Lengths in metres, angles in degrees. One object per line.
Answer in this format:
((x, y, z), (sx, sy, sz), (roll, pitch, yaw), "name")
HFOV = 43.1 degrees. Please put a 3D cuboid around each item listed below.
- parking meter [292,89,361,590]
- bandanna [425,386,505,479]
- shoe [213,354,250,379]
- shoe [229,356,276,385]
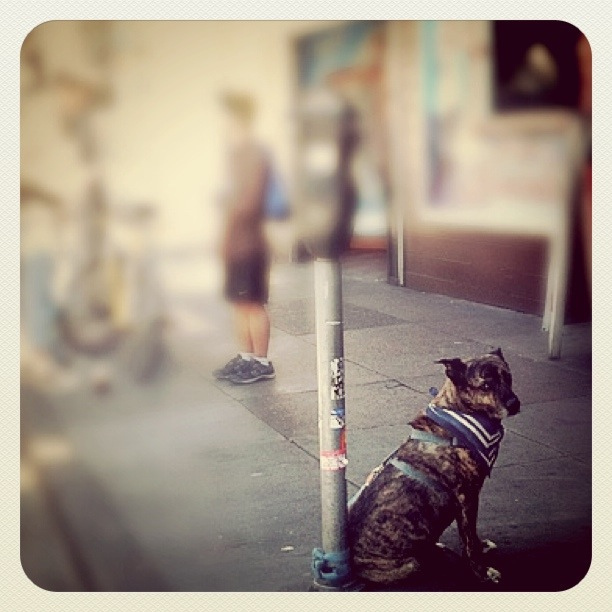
((0.088, 0.123, 2.988), (0.251, 1.853, 0.481), (-1, 14, -1), "parking meter")
((0.612, 0.450, 3.100), (0.361, 0.345, 0.265), (3, 12, -1), "bandanna")
((-0.483, 0.378, 4.984), (0.262, 0.118, 0.097), (-33, 10, -7), "shoe")
((-0.356, 0.423, 5.038), (0.327, 0.176, 0.120), (-1, 1, -36), "shoe")
